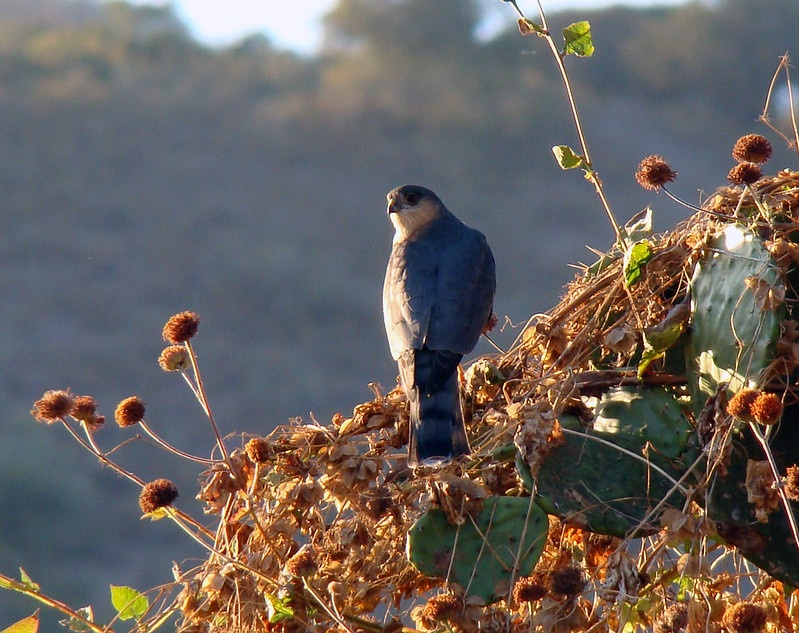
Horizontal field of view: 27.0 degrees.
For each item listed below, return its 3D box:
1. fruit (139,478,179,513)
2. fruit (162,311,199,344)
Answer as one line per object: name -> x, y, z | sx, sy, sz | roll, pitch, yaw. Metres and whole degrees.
fruit -> -0.562, 0.418, 3.864 | 0.091, 0.065, 0.119 | -17, -11, -12
fruit -> -0.469, 0.024, 3.567 | 0.056, 0.034, 0.052 | -35, 33, -2
